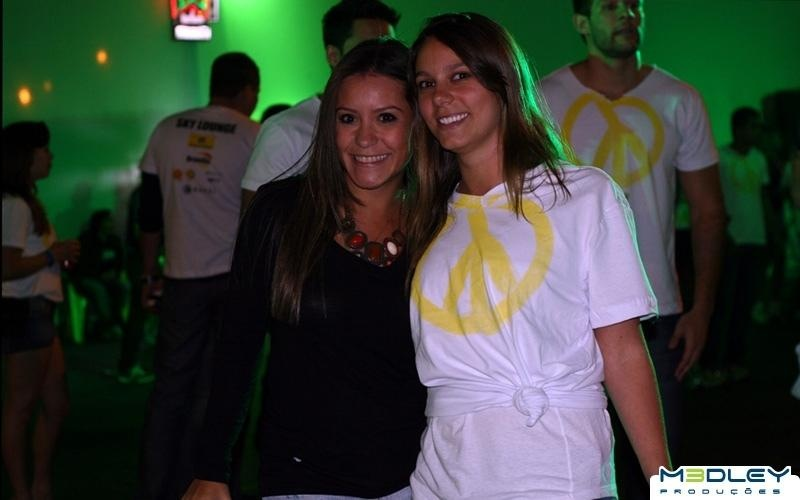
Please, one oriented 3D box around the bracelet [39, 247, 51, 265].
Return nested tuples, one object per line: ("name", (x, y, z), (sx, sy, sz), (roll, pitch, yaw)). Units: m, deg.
("bracelet", (-2.215, 0.036, 4.204), (0.055, 0.077, 0.028), (2, 15, 19))
